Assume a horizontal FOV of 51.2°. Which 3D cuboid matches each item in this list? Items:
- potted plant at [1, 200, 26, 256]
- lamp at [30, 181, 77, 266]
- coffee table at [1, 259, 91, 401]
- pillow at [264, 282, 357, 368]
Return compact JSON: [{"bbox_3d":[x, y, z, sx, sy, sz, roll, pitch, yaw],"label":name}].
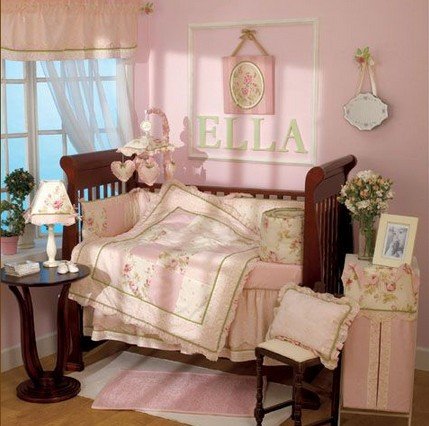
[{"bbox_3d":[-1.333,0.091,2.944,0.141,0.359,0.235,3,6,30],"label":"potted plant"},{"bbox_3d":[-0.930,0.063,2.599,0.268,0.496,0.161,-2,6,-29],"label":"lamp"},{"bbox_3d":[-0.990,0.673,2.558,0.532,0.748,0.496,4,6,33],"label":"coffee table"},{"bbox_3d":[0.452,0.500,2.068,0.110,0.357,0.400,32,-17,-38],"label":"pillow"}]
